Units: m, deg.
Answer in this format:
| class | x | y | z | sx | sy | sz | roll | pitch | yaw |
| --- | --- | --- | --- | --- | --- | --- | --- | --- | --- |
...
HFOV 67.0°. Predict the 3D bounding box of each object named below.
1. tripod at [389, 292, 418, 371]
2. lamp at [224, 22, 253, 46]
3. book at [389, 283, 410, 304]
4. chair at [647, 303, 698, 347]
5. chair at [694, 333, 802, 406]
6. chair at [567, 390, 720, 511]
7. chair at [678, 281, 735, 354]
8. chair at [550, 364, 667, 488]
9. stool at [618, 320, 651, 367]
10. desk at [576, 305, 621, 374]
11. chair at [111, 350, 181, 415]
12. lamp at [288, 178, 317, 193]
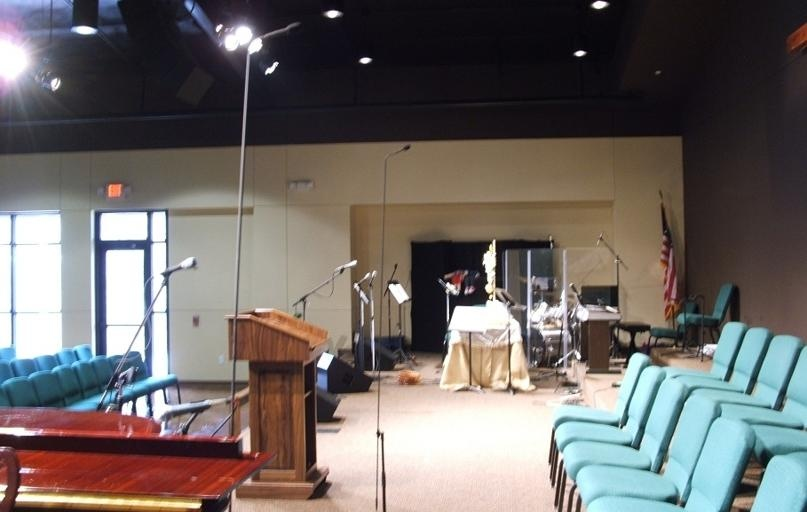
| class | x | y | z | sx | sy | sz | roll | pitch | yaw |
| --- | --- | --- | --- | --- | --- | --- | --- | --- | --- |
| tripod | -0.017 | 1.507 | 12.173 | 0.509 | 1.205 | 1.528 | -1 | 13 | -7 |
| lamp | -2.354 | -3.183 | 8.852 | 0.448 | 0.330 | 0.298 | 6 | 14 | 19 |
| book | -0.095 | 0.675 | 10.314 | 0.269 | 0.129 | 0.495 | -12 | 41 | -16 |
| chair | 4.769 | 1.222 | 10.787 | 0.854 | 1.130 | 0.660 | 0 | -6 | 0 |
| chair | 4.212 | 1.428 | 7.360 | 1.295 | 1.111 | 0.849 | 0 | -2 | -10 |
| chair | 2.379 | 2.136 | 6.556 | 1.230 | 1.655 | 1.112 | 3 | -4 | -3 |
| chair | 5.053 | 0.971 | 10.206 | 0.776 | 1.097 | 0.782 | 3 | 0 | 10 |
| chair | 2.302 | 1.939 | 7.164 | 1.110 | 1.554 | 1.045 | 6 | 0 | 6 |
| stool | 4.139 | 1.647 | 11.136 | 0.590 | 0.874 | 0.811 | 2 | -8 | 7 |
| desk | 3.342 | 1.551 | 10.380 | 0.505 | 1.048 | 1.070 | 1 | -17 | 19 |
| chair | -3.786 | 1.864 | 8.947 | 0.512 | 0.880 | 1.176 | 0 | -1 | 3 |
| lamp | -1.986 | -1.359 | 11.747 | 0.453 | 0.253 | 0.120 | 0 | 0 | 4 |
